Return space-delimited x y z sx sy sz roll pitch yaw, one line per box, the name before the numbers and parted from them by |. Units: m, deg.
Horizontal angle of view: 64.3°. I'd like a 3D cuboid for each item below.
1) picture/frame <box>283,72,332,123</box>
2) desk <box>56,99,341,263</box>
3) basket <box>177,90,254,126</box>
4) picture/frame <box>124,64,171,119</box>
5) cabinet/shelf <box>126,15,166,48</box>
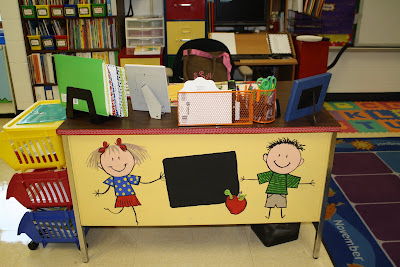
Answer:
picture/frame | 0.886 -0.286 2.559 0.432 0.340 0.093 -17 36 -30
desk | -0.038 0.155 2.915 1.876 0.981 1.020 -1 33 -1
basket | 0.119 -0.195 2.471 0.578 0.272 0.069 -1 28 -2
picture/frame | -0.440 -0.330 2.611 0.446 0.488 0.191 6 40 8
cabinet/shelf | -0.819 -1.508 4.812 0.689 0.480 0.391 1 30 -3
